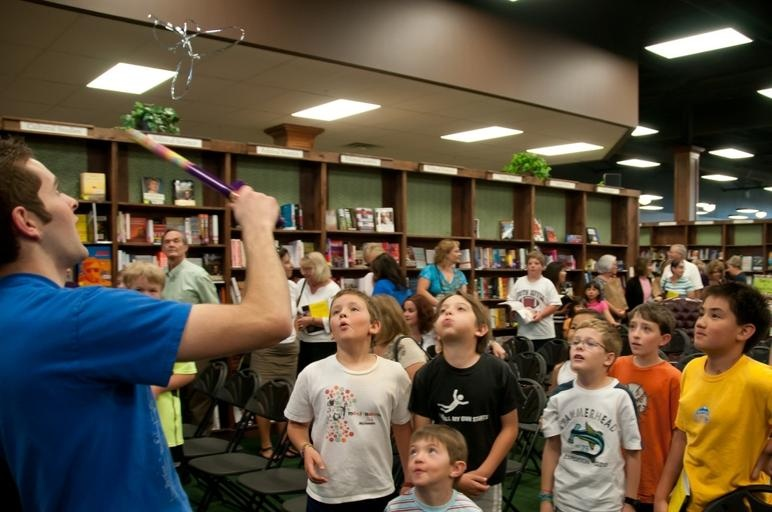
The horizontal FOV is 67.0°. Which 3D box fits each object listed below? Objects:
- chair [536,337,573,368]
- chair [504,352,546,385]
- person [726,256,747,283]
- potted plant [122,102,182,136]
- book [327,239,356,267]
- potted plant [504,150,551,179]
[{"bbox_3d":[1.738,1.000,6.061,0.311,0.400,0.316,-9,-17,26],"label":"chair"},{"bbox_3d":[1.292,0.933,5.417,0.381,0.460,0.187,-4,-4,43],"label":"chair"},{"bbox_3d":[6.258,0.215,10.484,0.260,0.411,0.818,1,-1,31],"label":"person"},{"bbox_3d":[-2.381,-1.383,5.907,0.512,0.302,0.502,2,-1,-31],"label":"potted plant"},{"bbox_3d":[-0.555,-0.028,7.251,0.438,0.375,0.304,0,-1,-35],"label":"book"},{"bbox_3d":[2.127,-1.401,9.161,0.730,0.365,0.688,3,-2,-15],"label":"potted plant"}]
